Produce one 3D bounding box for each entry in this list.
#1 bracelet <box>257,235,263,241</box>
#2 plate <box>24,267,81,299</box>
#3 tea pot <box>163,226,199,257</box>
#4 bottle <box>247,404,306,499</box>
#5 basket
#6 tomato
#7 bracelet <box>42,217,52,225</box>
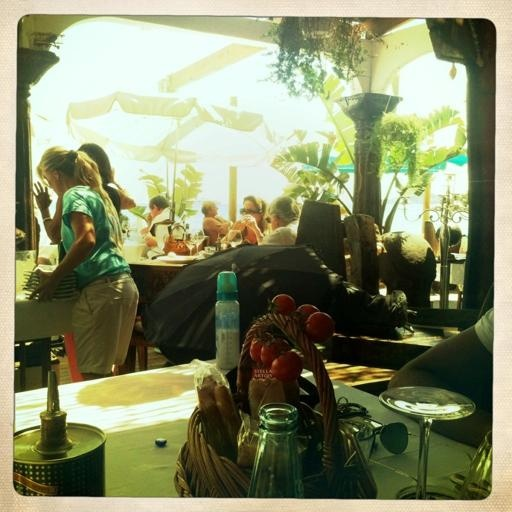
[{"bbox_3d":[0.021,-0.091,2.718,0.036,0.029,0.021,-8,-20,28],"label":"bracelet"},{"bbox_3d":[-0.670,0.089,1.725,0.120,0.108,0.047,-3,20,-11],"label":"plate"},{"bbox_3d":[-0.373,-0.078,2.725,0.165,0.186,0.116,3,-4,3],"label":"tea pot"},{"bbox_3d":[0.026,0.254,0.684,0.071,0.115,0.052,1,2,18],"label":"bottle"},{"bbox_3d":[0.035,0.194,0.832,0.219,0.312,0.299,-1,1,-32],"label":"basket"},{"bbox_3d":[0.058,0.118,0.762,0.101,0.048,0.133,-31,21,38],"label":"tomato"},{"bbox_3d":[-0.771,-0.134,1.959,0.023,0.026,0.022,17,-4,-37],"label":"bracelet"}]
